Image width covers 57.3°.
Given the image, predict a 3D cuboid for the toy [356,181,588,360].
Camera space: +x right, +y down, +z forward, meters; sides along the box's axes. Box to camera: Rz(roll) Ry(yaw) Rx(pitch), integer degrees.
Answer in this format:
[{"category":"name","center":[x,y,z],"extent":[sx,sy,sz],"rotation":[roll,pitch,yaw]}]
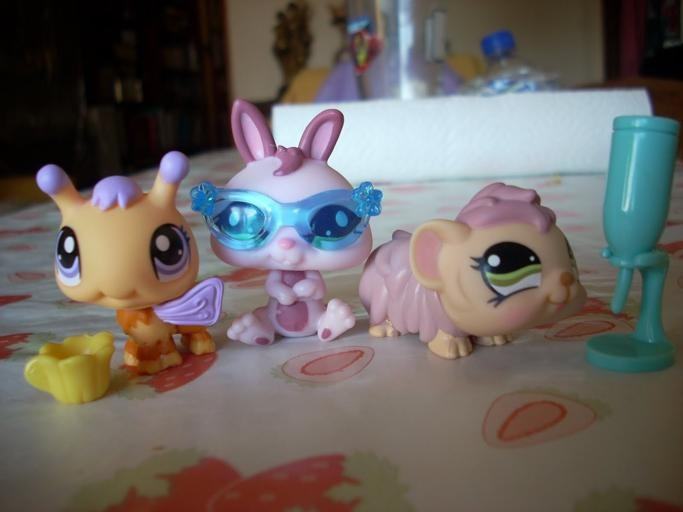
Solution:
[{"category":"toy","center":[0.266,0.018,1.291],"extent":[0.394,0.285,0.304],"rotation":[4,17,41]}]

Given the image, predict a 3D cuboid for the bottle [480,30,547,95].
[{"category":"bottle","center":[0.420,-0.472,1.527],"extent":[0.161,0.144,0.099],"rotation":[-1,17,12]}]

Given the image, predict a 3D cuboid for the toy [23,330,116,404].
[{"category":"toy","center":[-0.483,0.197,1.133],"extent":[0.122,0.100,0.146],"rotation":[-2,3,1]}]
